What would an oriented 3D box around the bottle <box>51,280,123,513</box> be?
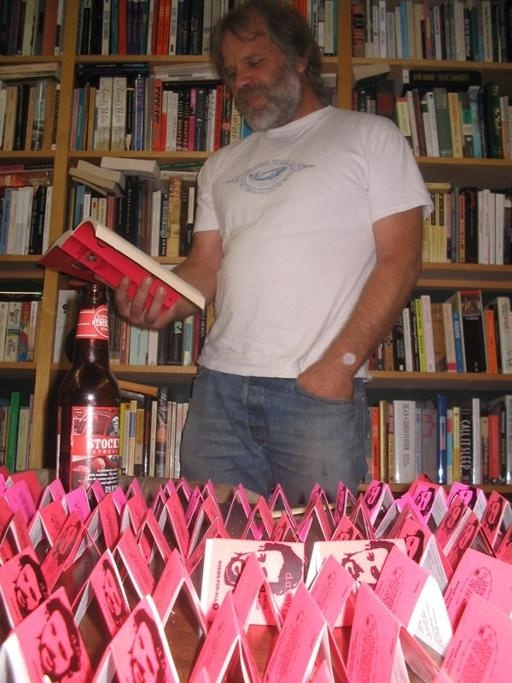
[{"bbox_3d":[-0.129,0.035,0.475,0.047,0.150,0.100,-2,9,-13],"label":"bottle"}]
